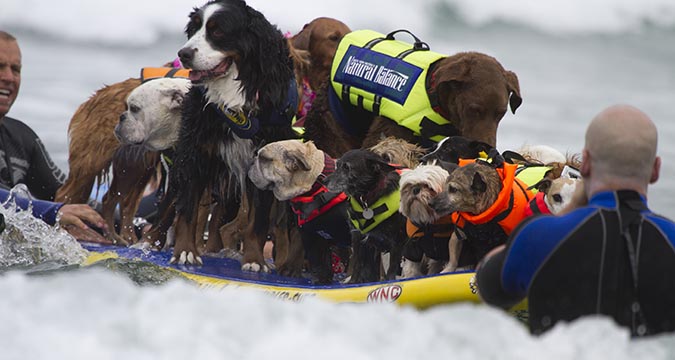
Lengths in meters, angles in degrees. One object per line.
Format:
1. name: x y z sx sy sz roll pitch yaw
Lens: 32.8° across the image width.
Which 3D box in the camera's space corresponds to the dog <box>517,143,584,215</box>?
1. dog: 2.263 0.044 12.272 0.549 0.349 0.945 -10 20 0
